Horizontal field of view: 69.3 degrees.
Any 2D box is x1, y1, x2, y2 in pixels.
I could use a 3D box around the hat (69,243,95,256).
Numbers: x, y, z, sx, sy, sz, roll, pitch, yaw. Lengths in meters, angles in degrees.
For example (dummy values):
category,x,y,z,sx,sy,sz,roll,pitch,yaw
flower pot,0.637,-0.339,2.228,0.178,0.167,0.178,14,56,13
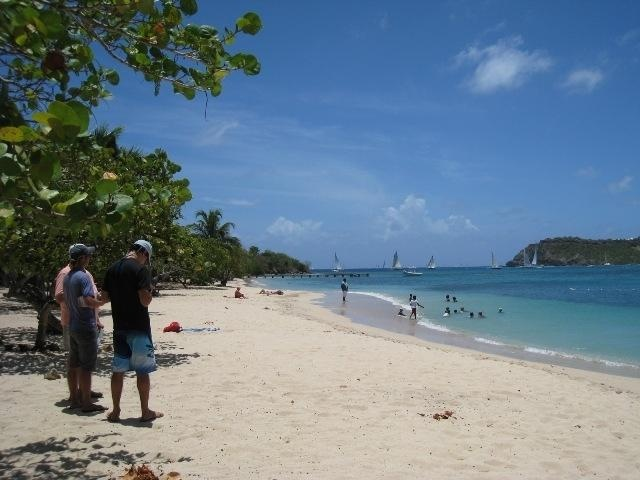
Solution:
category,x,y,z,sx,sy,sz,roll,pitch,yaw
hat,-3.864,0.177,7.528,0.247,0.195,0.389,26,25,35
